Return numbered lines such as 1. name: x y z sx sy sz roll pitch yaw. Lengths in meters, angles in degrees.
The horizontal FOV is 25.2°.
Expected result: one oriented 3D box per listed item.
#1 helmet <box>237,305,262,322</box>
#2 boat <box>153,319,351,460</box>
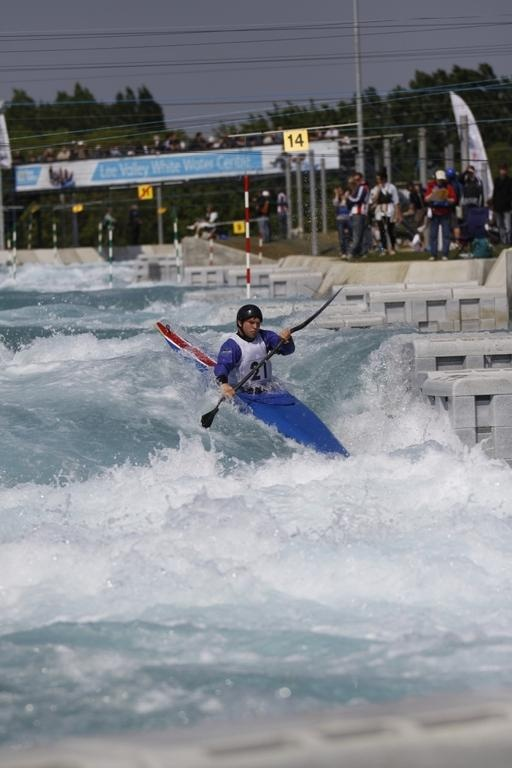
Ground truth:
1. helmet: -0.058 -0.544 8.889 0.155 0.120 0.134 -7 -7 38
2. boat: -0.031 0.071 9.315 0.330 0.202 1.845 -16 42 -44
